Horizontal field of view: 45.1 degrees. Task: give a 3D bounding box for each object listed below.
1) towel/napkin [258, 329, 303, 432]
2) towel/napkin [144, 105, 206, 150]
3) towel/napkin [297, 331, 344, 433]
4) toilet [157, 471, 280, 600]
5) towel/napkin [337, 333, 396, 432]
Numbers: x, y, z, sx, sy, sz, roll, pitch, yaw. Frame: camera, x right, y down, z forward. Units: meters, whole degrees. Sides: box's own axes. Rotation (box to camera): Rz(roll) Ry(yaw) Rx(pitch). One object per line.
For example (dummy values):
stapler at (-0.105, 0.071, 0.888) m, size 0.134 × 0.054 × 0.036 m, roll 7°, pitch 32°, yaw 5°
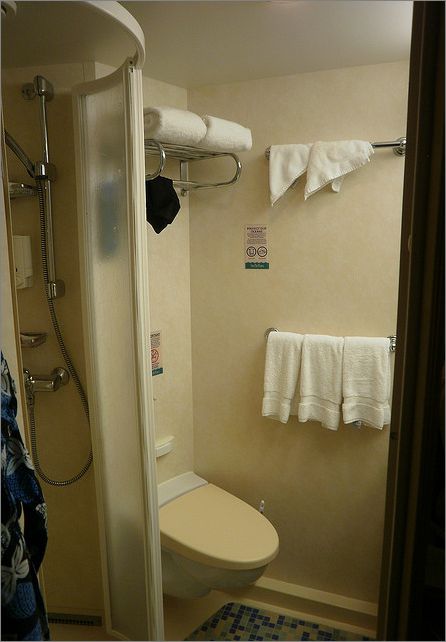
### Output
towel/napkin at (0.209, 0.190, 1.942) m, size 0.204 × 0.289 × 0.075 m, roll 12°, pitch 12°, yaw 42°
towel/napkin at (-0.139, -0.567, 1.565) m, size 0.127 × 0.059 × 0.131 m, roll 16°, pitch 23°, yaw 30°
towel/napkin at (0.343, 0.223, 1.882) m, size 0.150 × 0.336 × 0.123 m, roll 3°, pitch 12°, yaw 19°
toilet at (-0.045, 0.724, 1.866) m, size 0.454 × 0.311 × 0.342 m, roll 11°, pitch 18°, yaw 32°
towel/napkin at (0.484, 0.211, 1.816) m, size 0.164 × 0.305 × 0.115 m, roll 2°, pitch 12°, yaw 16°
